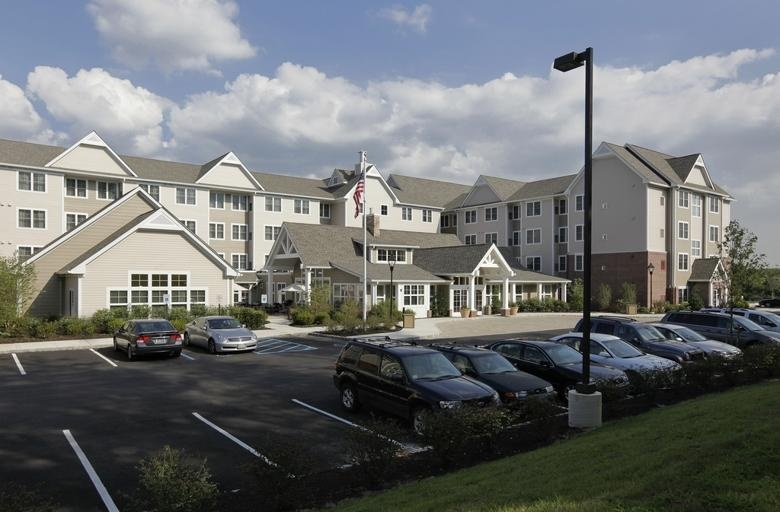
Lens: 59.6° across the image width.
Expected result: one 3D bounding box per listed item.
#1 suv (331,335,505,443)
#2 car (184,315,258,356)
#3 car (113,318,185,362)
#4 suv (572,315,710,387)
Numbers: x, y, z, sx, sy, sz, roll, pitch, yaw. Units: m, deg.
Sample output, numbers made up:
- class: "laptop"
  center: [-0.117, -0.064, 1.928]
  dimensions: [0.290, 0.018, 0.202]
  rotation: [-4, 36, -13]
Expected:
- class: "suv"
  center: [0.615, 4.494, 23.474]
  dimensions: [5.574, 2.438, 2.233]
  rotation: [5, 15, 38]
- class: "car"
  center: [-8.857, 4.127, 35.372]
  dimensions: [1.922, 1.766, 4.088]
  rotation: [-15, 16, -42]
- class: "car"
  center: [-12.151, 3.987, 33.443]
  dimensions: [1.608, 1.070, 3.554]
  rotation: [2, 0, -33]
- class: "suv"
  center: [10.493, 3.800, 29.369]
  dimensions: [5.588, 2.283, 2.200]
  rotation: [4, 9, 44]
